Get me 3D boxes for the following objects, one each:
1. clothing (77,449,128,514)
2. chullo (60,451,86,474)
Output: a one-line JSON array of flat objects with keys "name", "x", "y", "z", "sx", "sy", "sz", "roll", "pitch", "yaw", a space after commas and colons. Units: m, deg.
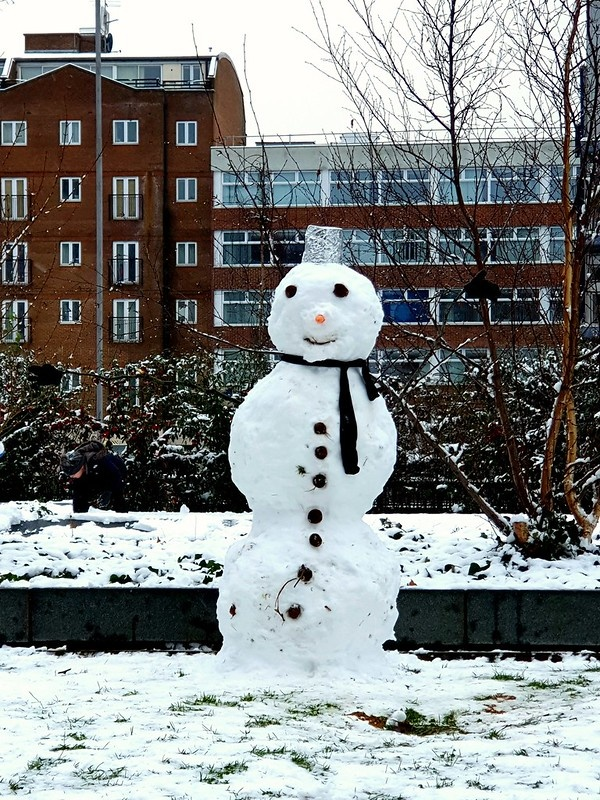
[{"name": "clothing", "x": -1.980, "y": 0.794, "z": 19.318, "sx": 0.392, "sy": 0.643, "sz": 0.285, "roll": 0, "pitch": 20, "yaw": -19}, {"name": "chullo", "x": -2.180, "y": 0.610, "z": 18.810, "sx": 0.222, "sy": 0.248, "sz": 0.328, "roll": -4, "pitch": -4, "yaw": 6}]
